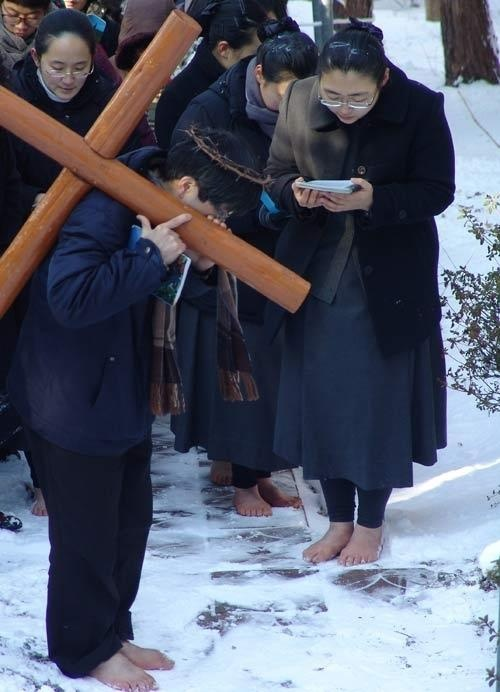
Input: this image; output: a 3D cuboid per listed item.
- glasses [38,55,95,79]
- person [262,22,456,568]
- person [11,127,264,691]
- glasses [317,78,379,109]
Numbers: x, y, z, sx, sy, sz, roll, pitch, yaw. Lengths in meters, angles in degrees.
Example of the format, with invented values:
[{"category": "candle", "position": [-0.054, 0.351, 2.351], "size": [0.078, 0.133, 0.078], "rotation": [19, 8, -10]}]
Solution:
[{"category": "glasses", "position": [-0.672, -1.000, 2.638], "size": [0.176, 0.052, 0.218], "rotation": [-4, 9, -14]}, {"category": "person", "position": [0.400, -0.098, 2.533], "size": [0.639, 1.875, 0.584], "rotation": [-3, 10, -2]}, {"category": "person", "position": [-0.254, 0.211, 1.837], "size": [0.643, 1.445, 0.506], "rotation": [-6, 10, -14]}, {"category": "glasses", "position": [0.289, -0.766, 2.217], "size": [0.191, 0.092, 0.135], "rotation": [0, 9, 16]}]
